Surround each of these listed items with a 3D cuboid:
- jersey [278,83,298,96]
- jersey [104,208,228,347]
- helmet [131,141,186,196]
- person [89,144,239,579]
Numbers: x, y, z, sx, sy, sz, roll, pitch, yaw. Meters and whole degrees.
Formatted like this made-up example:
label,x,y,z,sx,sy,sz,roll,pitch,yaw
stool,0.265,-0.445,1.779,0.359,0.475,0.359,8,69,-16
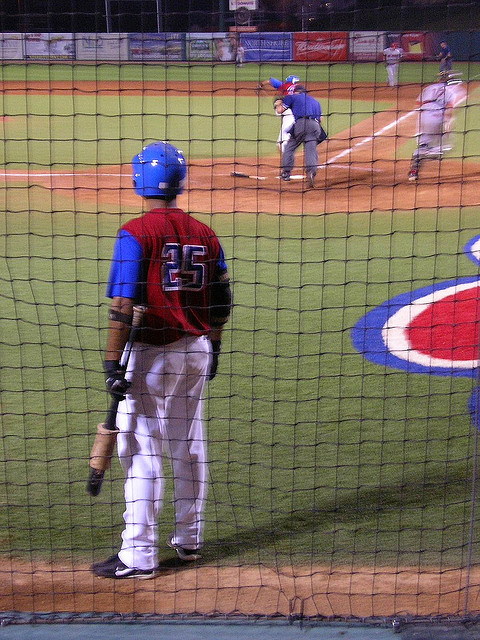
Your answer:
label,x,y,z,sx,sy,sz,roll,pitch,yaw
jersey,0.582,-2.841,13.662,0.302,0.168,0.355,-1,8,5
jersey,-0.386,-0.244,6.107,0.302,0.741,0.703,7,12,38
helmet,-0.430,-0.852,6.177,0.298,0.268,0.358,-20,30,-40
person,-0.432,0.212,6.175,0.493,2.361,0.852,4,12,27
